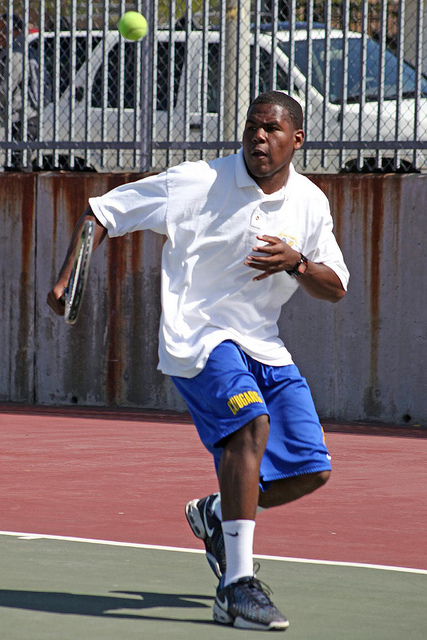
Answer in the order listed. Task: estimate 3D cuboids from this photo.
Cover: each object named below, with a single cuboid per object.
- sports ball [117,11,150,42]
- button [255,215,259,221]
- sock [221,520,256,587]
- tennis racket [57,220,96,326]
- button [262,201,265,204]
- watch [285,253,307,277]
[{"bbox_3d":[-0.683,-2.484,9.561,0.229,0.225,0.259,1,-6,-9],"label":"sports ball"},{"bbox_3d":[0.156,-0.370,4.092,0.020,0.018,0.005,-6,8,-22],"label":"button"},{"bbox_3d":[0.083,0.790,3.870,0.106,0.227,0.196,0,-6,2],"label":"sock"},{"bbox_3d":[-0.480,-0.183,3.950,0.125,0.388,0.291,1,-6,-6],"label":"tennis racket"},{"bbox_3d":[0.180,-0.426,4.105,0.008,0.007,0.017,1,-5,-8],"label":"button"},{"bbox_3d":[0.301,-0.195,4.019,0.085,0.084,0.056,-1,34,-35],"label":"watch"}]
